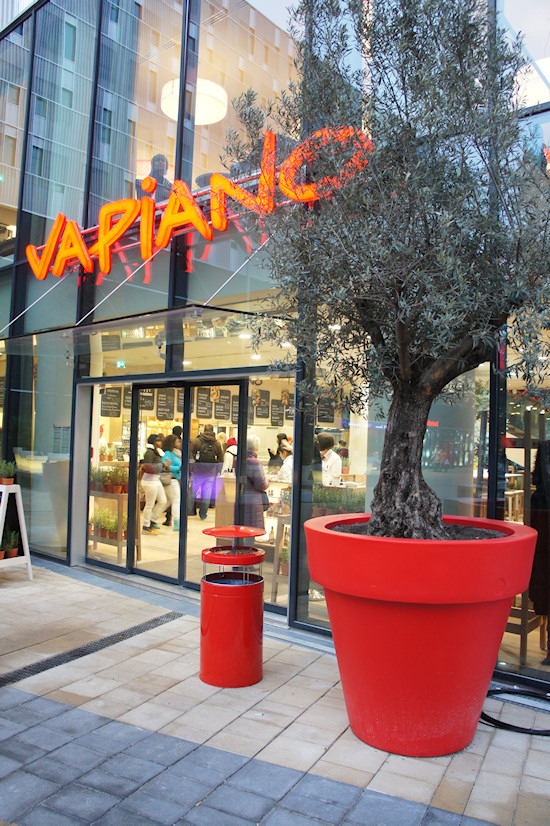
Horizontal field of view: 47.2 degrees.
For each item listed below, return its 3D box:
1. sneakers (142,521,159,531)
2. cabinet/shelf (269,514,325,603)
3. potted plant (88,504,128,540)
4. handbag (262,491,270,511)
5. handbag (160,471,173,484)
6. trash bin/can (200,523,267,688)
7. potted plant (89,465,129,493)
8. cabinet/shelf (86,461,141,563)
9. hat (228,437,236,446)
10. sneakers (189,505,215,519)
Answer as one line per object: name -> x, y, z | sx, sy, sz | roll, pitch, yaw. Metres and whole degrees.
sneakers -> -1.270, 1.159, 6.427 | 0.074, 0.091, 0.215 | 4, -9, -43
cabinet/shelf -> 0.160, 1.206, 5.253 | 0.436, 0.715, 0.442 | 3, 1, 18
potted plant -> -1.803, 1.142, 6.845 | 0.350, 0.240, 0.456 | 0, 5, -34
handbag -> -0.082, 0.736, 5.265 | 0.030, 0.141, 0.094 | 4, -6, -18
handbag -> -1.087, 0.648, 6.260 | 0.096, 0.126, 0.119 | 3, 1, 44
trash bin/can -> -0.239, 1.110, 3.671 | 0.338, 0.840, 0.352 | -1, -6, 10
potted plant -> -1.830, 0.715, 6.871 | 0.324, 0.259, 0.368 | 0, -8, 5
cabinet/shelf -> -1.797, 1.116, 7.019 | 0.294, 0.913, 0.554 | -15, -12, 18
hat -> -0.383, 0.259, 5.550 | 0.031, 0.078, 0.071 | 19, -8, -43
sneakers -> -0.663, 0.910, 5.766 | 0.246, 0.088, 0.069 | 7, 16, 12
